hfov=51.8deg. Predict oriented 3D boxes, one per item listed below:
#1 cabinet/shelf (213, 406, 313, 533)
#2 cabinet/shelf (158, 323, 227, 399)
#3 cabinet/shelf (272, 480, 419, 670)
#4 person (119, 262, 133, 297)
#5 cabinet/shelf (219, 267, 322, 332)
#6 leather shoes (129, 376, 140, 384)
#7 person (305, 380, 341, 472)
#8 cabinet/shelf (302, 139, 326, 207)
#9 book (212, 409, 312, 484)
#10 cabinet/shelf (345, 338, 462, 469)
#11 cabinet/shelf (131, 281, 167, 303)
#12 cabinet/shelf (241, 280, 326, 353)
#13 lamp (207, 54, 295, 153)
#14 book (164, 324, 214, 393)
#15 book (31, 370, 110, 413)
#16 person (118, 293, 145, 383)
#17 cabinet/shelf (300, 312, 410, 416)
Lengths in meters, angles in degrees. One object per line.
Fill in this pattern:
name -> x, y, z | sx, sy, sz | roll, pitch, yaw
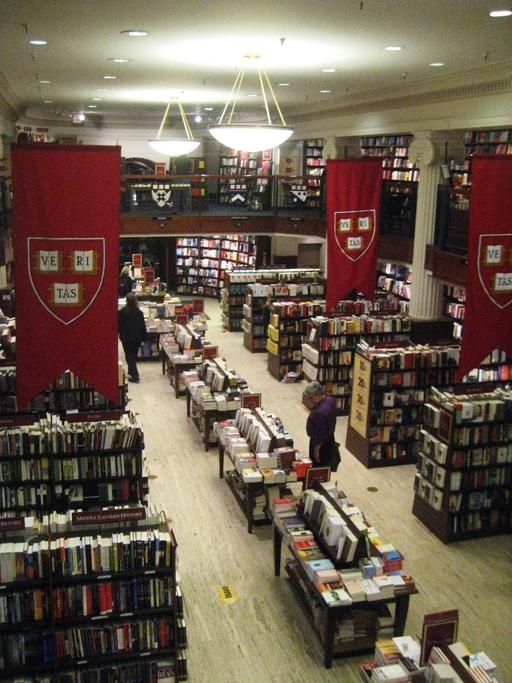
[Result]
cabinet/shelf -> -0.012, 1.383, 6.342 | 0.709, 1.042, 1.528 | -1, 6, -21
cabinet/shelf -> -1.456, 0.324, 10.691 | 0.742, 1.150, 1.790 | -4, 14, -19
cabinet/shelf -> 0.647, 1.790, 4.321 | 0.727, 0.975, 1.384 | -4, 13, -20
person -> -3.238, -1.471, 13.092 | 0.332, 0.804, 0.886 | -1, 10, -13
cabinet/shelf -> 0.422, -1.280, 14.456 | 2.372, 1.514, 0.832 | -3, 16, -15
leather shoes -> -2.516, 0.774, 10.904 | 0.216, 0.155, 0.099 | 30, 34, 34
person -> 0.734, 0.957, 5.855 | 0.373, 1.175, 1.548 | 2, 9, 8
cabinet/shelf -> 1.651, -4.784, 15.381 | 0.768, 2.134, 0.223 | 12, 9, 42
book -> 0.068, 1.169, 5.953 | 0.645, 0.793, 1.364 | -3, 15, -18
cabinet/shelf -> 2.121, 0.799, 7.675 | 1.426, 1.509, 0.718 | -4, 10, -16
cabinet/shelf -> -2.659, -1.230, 13.222 | 0.575, 0.439, 0.625 | -1, 10, -8
cabinet/shelf -> 0.659, -0.572, 12.657 | 1.610, 1.626, 0.594 | 2, -10, 26
lamp -> -0.042, -2.499, 5.470 | 0.814, 0.968, 0.850 | 12, 22, 30
book -> -1.283, 0.334, 9.820 | 0.472, 0.687, 1.144 | -7, 21, -20
book -> -1.948, 0.533, 5.466 | 0.591, 0.616, 0.188 | 1, 1, -9
person -> -2.440, -0.027, 10.432 | 0.522, 1.863, 0.642 | 3, 10, 14
cabinet/shelf -> 1.557, 0.349, 8.181 | 1.682, 1.680, 0.597 | 0, 4, -25
